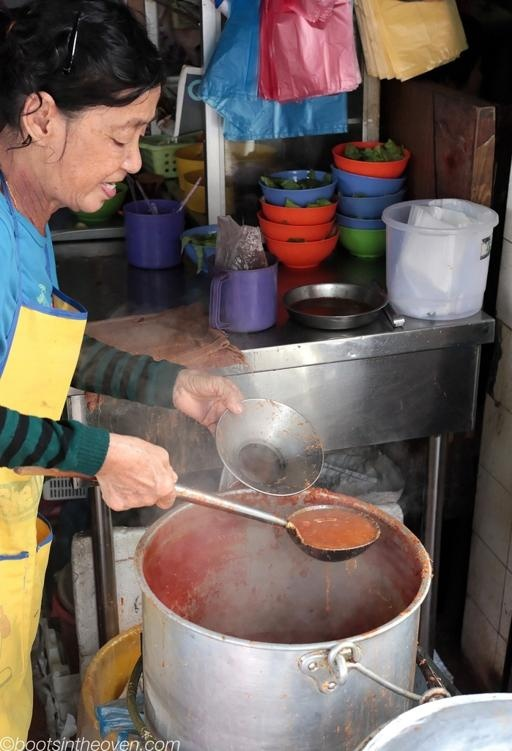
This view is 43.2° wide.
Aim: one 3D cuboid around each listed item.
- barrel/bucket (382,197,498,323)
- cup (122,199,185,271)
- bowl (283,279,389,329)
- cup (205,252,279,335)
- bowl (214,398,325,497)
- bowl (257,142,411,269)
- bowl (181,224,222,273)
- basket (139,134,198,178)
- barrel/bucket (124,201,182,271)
[{"bbox_3d":[0.438,-0.293,1.615,0.236,0.276,0.305,-5,18,-9],"label":"barrel/bucket"},{"bbox_3d":[-0.290,-0.413,1.973,0.215,0.216,0.204,1,33,-1],"label":"cup"},{"bbox_3d":[0.196,-0.173,1.604,0.257,0.078,0.256,-2,17,1],"label":"bowl"},{"bbox_3d":[-0.056,-0.176,1.524,0.135,0.153,0.213,9,19,30],"label":"cup"},{"bbox_3d":[0.002,0.152,1.150,0.173,0.171,0.065,-35,-7,-38],"label":"bowl"},{"bbox_3d":[0.236,-0.488,1.885,0.518,0.260,0.295,-14,38,-8],"label":"bowl"},{"bbox_3d":[-0.148,-0.348,1.814,0.159,0.102,0.157,0,6,0],"label":"bowl"},{"bbox_3d":[-0.355,-0.869,2.558,0.177,0.123,0.238,-11,30,-18],"label":"basket"},{"bbox_3d":[-0.278,-0.420,1.972,0.215,0.217,0.204,1,33,-1],"label":"barrel/bucket"}]
